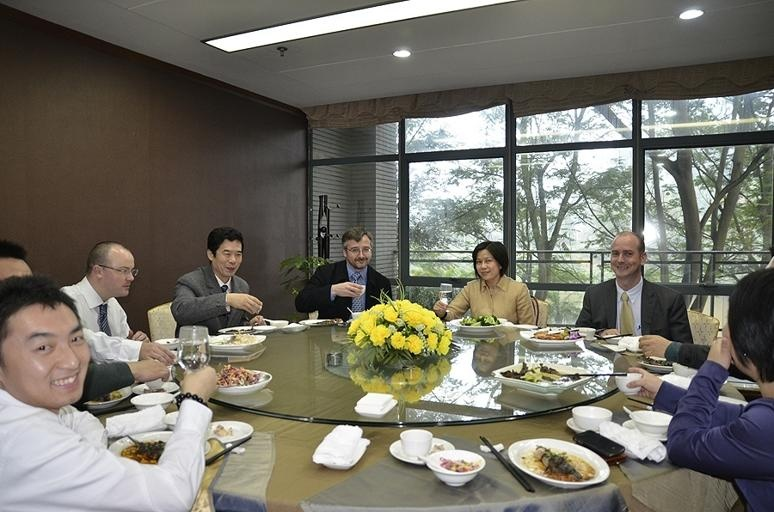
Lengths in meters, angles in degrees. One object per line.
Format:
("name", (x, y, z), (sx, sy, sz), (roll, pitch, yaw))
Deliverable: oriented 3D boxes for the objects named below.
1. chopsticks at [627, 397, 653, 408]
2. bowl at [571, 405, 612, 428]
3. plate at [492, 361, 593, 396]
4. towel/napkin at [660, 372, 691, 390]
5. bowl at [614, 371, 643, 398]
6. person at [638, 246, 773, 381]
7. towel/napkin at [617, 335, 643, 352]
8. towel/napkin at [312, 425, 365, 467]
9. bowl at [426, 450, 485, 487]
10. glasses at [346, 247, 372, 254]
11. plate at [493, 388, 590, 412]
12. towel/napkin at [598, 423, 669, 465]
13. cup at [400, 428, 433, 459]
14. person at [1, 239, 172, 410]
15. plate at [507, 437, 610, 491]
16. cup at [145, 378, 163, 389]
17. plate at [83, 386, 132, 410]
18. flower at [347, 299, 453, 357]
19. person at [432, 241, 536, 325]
("chopsticks", (1.250, 0.726, 2.514), (0.153, 0.019, 0.027), (7, 14, 35))
("bowl", (0.920, 0.722, 2.276), (0.145, 0.071, 0.172), (3, 4, 32))
("plate", (0.748, 0.607, 2.509), (0.255, 0.057, 0.246), (-1, 2, 34))
("towel/napkin", (1.467, 0.629, 2.571), (0.125, 0.030, 0.120), (0, -1, -6))
("bowl", (1.162, 0.616, 2.461), (0.117, 0.085, 0.112), (1, -16, 0))
("person", (1.825, 0.283, 3.138), (0.777, 0.866, 0.658), (0, -1, 27))
("towel/napkin", (1.541, 0.550, 3.242), (0.110, 0.031, 0.109), (2, 13, 30))
("towel/napkin", (-0.185, 0.772, 2.054), (0.159, 0.050, 0.156), (3, 17, 25))
("bowl", (0.266, 0.833, 1.985), (0.227, 0.093, 0.159), (2, 4, 8))
("glasses", (-0.242, -0.043, 4.441), (0.216, 0.068, 0.107), (0, 4, -15))
("plate", (0.748, 0.690, 2.447), (0.449, 0.039, 0.241), (1, 3, 0))
("towel/napkin", (1.036, 0.772, 2.115), (0.135, 0.065, 0.202), (-16, 23, -39))
("cup", (0.130, 0.765, 2.094), (0.115, 0.089, 0.126), (1, 4, 0))
("person", (-1.528, 0.367, 3.087), (0.971, 1.080, 0.808), (-1, -7, 17))
("plate", (0.678, 0.827, 2.026), (0.384, 0.107, 0.227), (2, 4, 16))
("cup", (-1.200, 0.653, 2.624), (0.063, 0.040, 0.060), (0, -8, 0))
("plate", (-1.358, 0.687, 2.455), (0.217, 0.033, 0.206), (2, 13, 16))
("flower", (0.084, 0.340, 2.884), (0.417, 0.226, 0.399), (6, 0, -1))
("person", (0.987, 0.249, 4.911), (0.686, 0.999, 0.631), (-12, -23, 34))
